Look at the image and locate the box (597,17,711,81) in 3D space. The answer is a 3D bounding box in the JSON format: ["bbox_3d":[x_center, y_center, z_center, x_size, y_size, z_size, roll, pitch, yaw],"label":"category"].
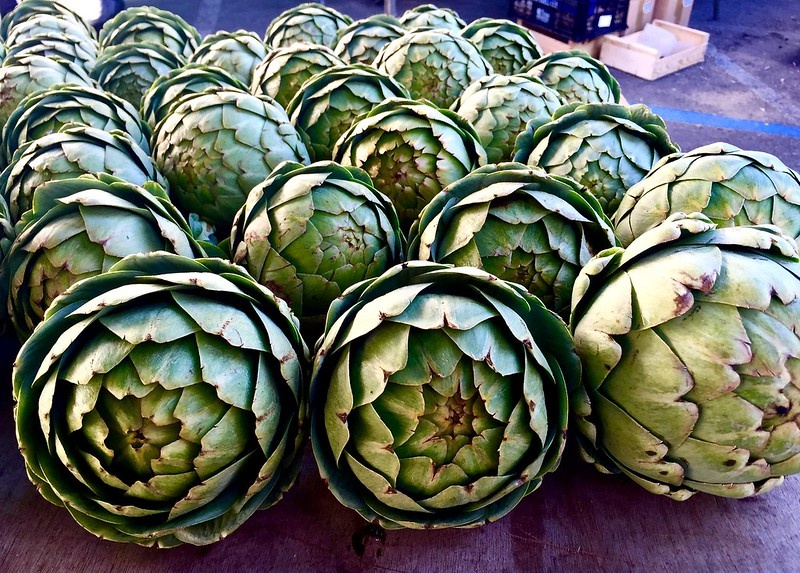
[{"bbox_3d":[1.637,-1.504,5.310,0.601,0.180,0.420,-22,41,-27],"label":"box"}]
